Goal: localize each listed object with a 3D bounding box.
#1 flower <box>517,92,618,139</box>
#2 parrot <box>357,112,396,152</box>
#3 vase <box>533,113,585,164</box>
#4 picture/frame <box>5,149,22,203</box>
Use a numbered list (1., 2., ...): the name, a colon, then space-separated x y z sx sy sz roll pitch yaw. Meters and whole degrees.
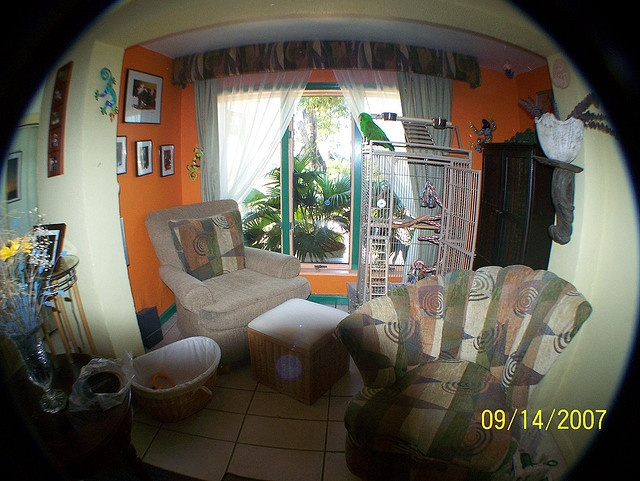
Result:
1. flower: 1.175 -0.609 1.992 0.169 0.222 0.526 -4 11 -11
2. parrot: 0.411 -0.846 3.152 0.261 0.311 0.238 -1 14 -24
3. vase: 1.225 -0.529 2.054 0.222 0.264 0.265 -1 24 11
4. picture/frame: -1.589 -0.336 2.129 0.078 0.261 0.084 -6 11 -21
